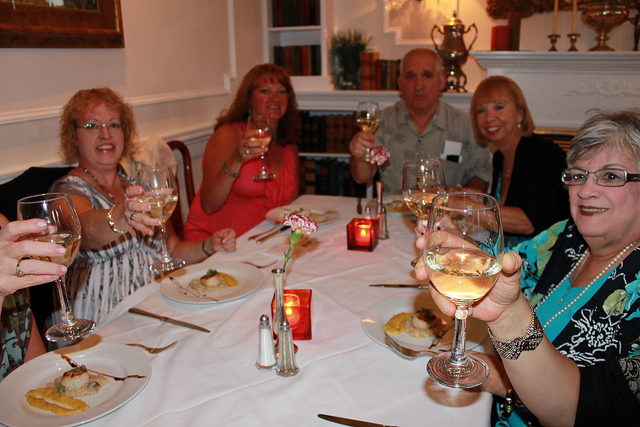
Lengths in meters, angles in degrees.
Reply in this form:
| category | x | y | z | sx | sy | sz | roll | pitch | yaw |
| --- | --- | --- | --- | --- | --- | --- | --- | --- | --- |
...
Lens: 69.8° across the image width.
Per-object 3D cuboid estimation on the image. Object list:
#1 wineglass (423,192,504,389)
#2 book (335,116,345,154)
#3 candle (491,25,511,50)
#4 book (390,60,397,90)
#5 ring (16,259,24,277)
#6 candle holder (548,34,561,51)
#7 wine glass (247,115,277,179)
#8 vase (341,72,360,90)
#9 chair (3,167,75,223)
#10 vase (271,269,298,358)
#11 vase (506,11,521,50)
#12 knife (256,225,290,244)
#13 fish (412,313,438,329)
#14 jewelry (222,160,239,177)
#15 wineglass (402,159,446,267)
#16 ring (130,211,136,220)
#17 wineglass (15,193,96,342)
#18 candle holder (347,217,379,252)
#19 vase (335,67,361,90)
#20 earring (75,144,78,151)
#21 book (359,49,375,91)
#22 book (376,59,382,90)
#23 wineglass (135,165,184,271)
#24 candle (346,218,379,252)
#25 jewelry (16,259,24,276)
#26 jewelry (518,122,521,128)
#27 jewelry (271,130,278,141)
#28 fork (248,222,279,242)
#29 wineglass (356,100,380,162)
| category | x | y | z | sx | sy | sz | roll | pitch | yaw |
| --- | --- | --- | --- | --- | --- | --- | --- | --- | --- |
| wineglass | 0.392 | 0.229 | 1.293 | 0.215 | 0.557 | 0.196 | -10 | 19 | -19 |
| book | 0.202 | -0.813 | 4.783 | 0.105 | 0.379 | 0.079 | -1 | 18 | 8 |
| candle | 1.575 | -1.544 | 4.044 | 0.190 | 0.225 | 0.194 | 1 | 19 | 3 |
| book | 0.735 | -1.390 | 4.618 | 0.068 | 0.276 | 0.087 | 2 | 19 | 15 |
| ring | -0.888 | 0.163 | 1.358 | 0.031 | 0.044 | 0.017 | 1 | 7 | 7 |
| candle holder | 1.966 | -1.438 | 3.872 | 0.069 | 0.132 | 0.404 | 5 | 20 | 25 |
| wine glass | -0.321 | -0.348 | 2.522 | 0.129 | 0.378 | 0.369 | -5 | 18 | -5 |
| vase | 0.315 | -1.374 | 4.759 | 0.167 | 0.172 | 0.079 | 4 | 9 | 1 |
| chair | -1.225 | -0.082 | 2.005 | 0.245 | 0.220 | 0.310 | 1 | -9 | -1 |
| vase | -0.114 | 0.323 | 1.469 | 0.082 | 0.258 | 0.106 | 4 | 15 | 3 |
| vase | 1.696 | -1.608 | 4.040 | 0.109 | 0.321 | 0.225 | 3 | 19 | 20 |
| knife | -0.236 | 0.111 | 2.332 | 0.032 | 0.021 | 0.283 | 24 | 23 | 17 |
| fish | 0.364 | 0.382 | 1.604 | 0.049 | 0.017 | 0.050 | 1 | 19 | 1 |
| jewelry | -0.543 | -0.259 | 2.728 | 0.107 | 0.097 | 0.041 | 7 | 20 | 28 |
| wineglass | 0.467 | -0.006 | 2.004 | 0.183 | 0.448 | 0.182 | -3 | 9 | 27 |
| ring | -0.743 | 0.011 | 1.824 | 0.007 | 0.028 | 0.028 | 23 | 21 | 4 |
| wineglass | -0.869 | 0.182 | 1.514 | 0.174 | 0.452 | 0.182 | -9 | 6 | 24 |
| candle holder | 0.209 | 0.100 | 2.251 | 0.147 | 0.148 | 0.149 | 4 | 9 | 14 |
| vase | 0.286 | -1.404 | 4.785 | 0.266 | 0.221 | 0.104 | 5 | 20 | 23 |
| earring | -1.303 | -0.354 | 2.466 | 0.004 | 0.020 | 0.013 | 4 | 10 | -4 |
| book | 0.476 | -1.514 | 4.857 | 0.143 | 0.417 | 0.437 | -4 | 16 | -2 |
| book | 0.596 | -1.399 | 4.650 | 0.061 | 0.279 | 0.063 | -1 | 18 | 7 |
| wineglass | -0.675 | 0.018 | 1.946 | 0.164 | 0.436 | 0.171 | -12 | 17 | -31 |
| candle | 0.208 | 0.092 | 2.188 | 0.146 | 0.145 | 0.150 | 3 | 10 | 12 |
| jewelry | -0.887 | 0.162 | 1.358 | 0.031 | 0.043 | 0.018 | 1 | 7 | 9 |
| jewelry | 1.160 | -0.516 | 2.683 | 0.024 | 0.031 | 0.007 | -8 | 9 | -39 |
| jewelry | -0.323 | -0.566 | 3.326 | 0.053 | 0.076 | 0.068 | 4 | 38 | 12 |
| fork | -0.264 | 0.085 | 2.431 | 0.040 | 0.024 | 0.356 | 21 | 20 | 21 |
| wineglass | 0.263 | -0.513 | 2.498 | 0.115 | 0.185 | 0.183 | -1 | 18 | 6 |
